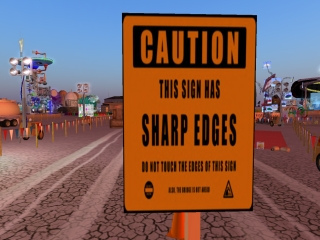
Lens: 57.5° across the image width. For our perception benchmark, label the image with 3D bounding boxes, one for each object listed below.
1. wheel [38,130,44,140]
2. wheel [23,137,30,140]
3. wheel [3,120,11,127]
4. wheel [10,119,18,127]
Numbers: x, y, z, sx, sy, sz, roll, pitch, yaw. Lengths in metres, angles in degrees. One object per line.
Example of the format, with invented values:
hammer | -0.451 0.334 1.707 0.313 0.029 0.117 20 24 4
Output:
wheel | -7.812 1.007 18.990 0.353 0.592 0.193 1 10 -16
wheel | -9.046 1.269 19.605 0.369 0.239 0.479 -4 9 -27
wheel | -17.053 0.396 32.150 0.591 0.755 1.489 -3 9 -22
wheel | -16.848 0.361 33.409 0.179 0.772 0.705 1 1 30
